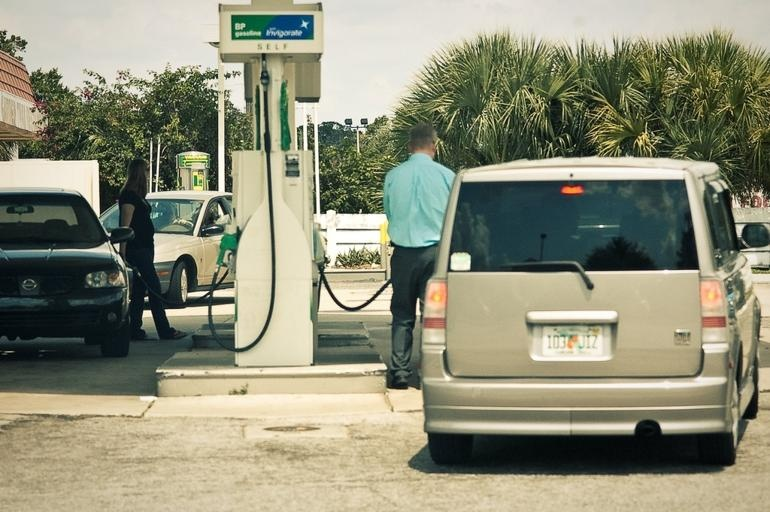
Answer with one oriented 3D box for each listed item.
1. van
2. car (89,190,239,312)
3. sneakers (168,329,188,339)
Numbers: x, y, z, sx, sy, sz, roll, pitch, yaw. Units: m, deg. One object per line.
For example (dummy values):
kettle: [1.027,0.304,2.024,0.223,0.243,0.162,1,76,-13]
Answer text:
van: [1.510,0.348,7.262,1.756,1.413,2.930,0,5,12]
car: [-3.698,-0.171,17.143,2.098,1.641,3.442,-1,-2,13]
sneakers: [-3.037,1.122,13.519,0.170,0.061,0.182,4,9,34]
